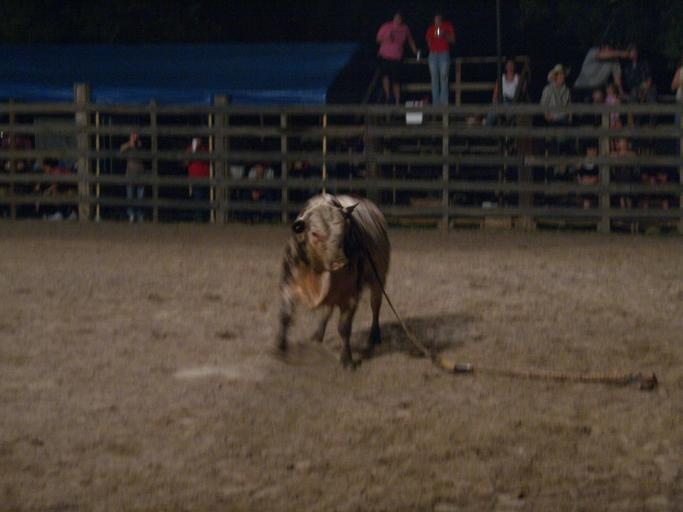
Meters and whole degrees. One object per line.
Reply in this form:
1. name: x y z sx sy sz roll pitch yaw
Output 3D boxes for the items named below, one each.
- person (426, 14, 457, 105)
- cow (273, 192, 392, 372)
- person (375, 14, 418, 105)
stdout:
1. person: 1.683 -3.433 26.989 0.474 1.539 0.570 4 8 26
2. cow: -0.038 0.273 20.148 0.881 2.260 1.572 8 11 42
3. person: 1.009 -3.573 27.854 0.718 1.657 1.247 1 8 2
